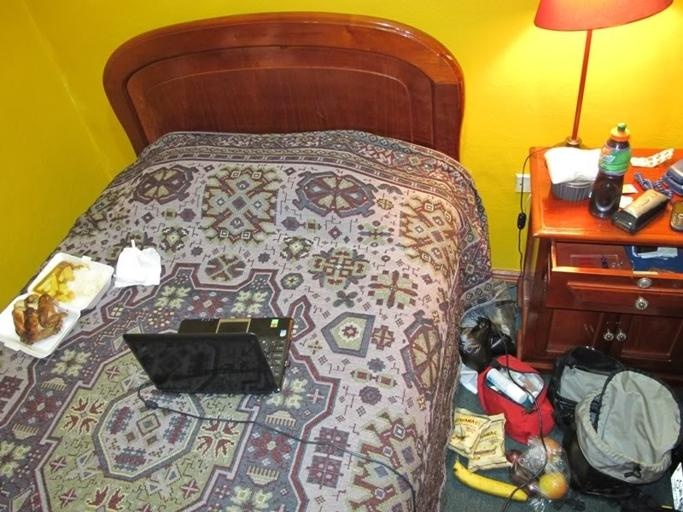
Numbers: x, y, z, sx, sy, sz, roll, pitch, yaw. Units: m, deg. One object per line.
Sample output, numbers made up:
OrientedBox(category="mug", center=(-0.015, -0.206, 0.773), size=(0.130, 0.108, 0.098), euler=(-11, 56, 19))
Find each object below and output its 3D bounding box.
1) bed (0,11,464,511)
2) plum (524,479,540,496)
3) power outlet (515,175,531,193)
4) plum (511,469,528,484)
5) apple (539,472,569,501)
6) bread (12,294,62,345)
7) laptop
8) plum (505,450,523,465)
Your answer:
OrientedBox(category="bed", center=(-0.289, 0.052, 2.548), size=(1.623, 1.035, 1.651), euler=(0, 51, 2))
OrientedBox(category="plum", center=(0.814, 0.993, 2.281), size=(0.047, 0.032, 0.058), euler=(0, 38, 35))
OrientedBox(category="power outlet", center=(0.922, -0.372, 2.727), size=(0.083, 0.079, 0.020), euler=(10, 40, 24))
OrientedBox(category="plum", center=(0.769, 0.960, 2.312), size=(0.045, 0.022, 0.060), euler=(14, 67, 20))
OrientedBox(category="apple", center=(0.893, 0.971, 2.258), size=(0.107, 0.100, 0.107), euler=(-4, -2, 6))
OrientedBox(category="bread", center=(-1.193, 0.247, 2.163), size=(0.179, 0.097, 0.211), euler=(-5, 33, -4))
OrientedBox(category="laptop", center=(-0.438, 0.277, 1.914), size=(0.453, 0.328, 0.323), euler=(-3, 43, 7))
OrientedBox(category="plum", center=(0.767, 0.897, 2.372), size=(0.055, 0.048, 0.061), euler=(4, -22, 12))
